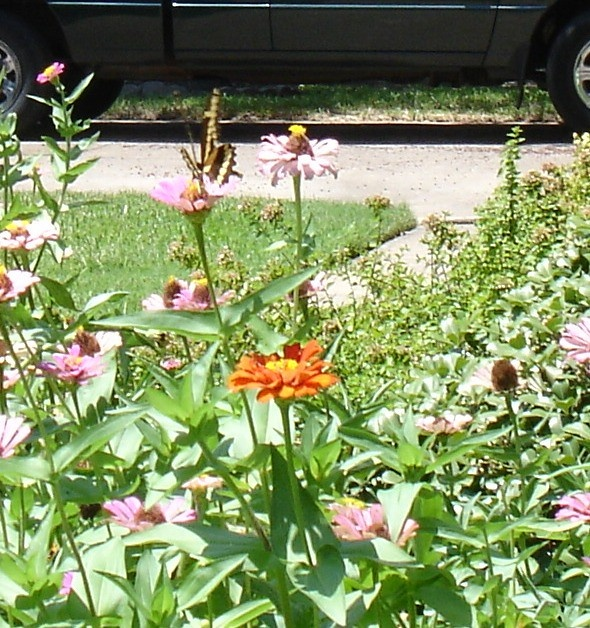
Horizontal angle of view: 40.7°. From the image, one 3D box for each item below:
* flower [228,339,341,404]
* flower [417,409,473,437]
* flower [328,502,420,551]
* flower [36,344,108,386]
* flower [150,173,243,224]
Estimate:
[{"bbox_3d":[-0.021,0.079,1.188,0.139,0.047,0.118,-1,-6,-21],"label":"flower"},{"bbox_3d":[0.340,0.243,1.783,0.090,0.040,0.091,-10,-5,25],"label":"flower"},{"bbox_3d":[0.115,0.365,1.368,0.121,0.049,0.125,-3,1,41],"label":"flower"},{"bbox_3d":[-0.446,0.103,1.616,0.132,0.054,0.128,7,12,-41],"label":"flower"},{"bbox_3d":[-0.196,-0.218,1.427,0.113,0.054,0.104,-15,15,-14],"label":"flower"}]
